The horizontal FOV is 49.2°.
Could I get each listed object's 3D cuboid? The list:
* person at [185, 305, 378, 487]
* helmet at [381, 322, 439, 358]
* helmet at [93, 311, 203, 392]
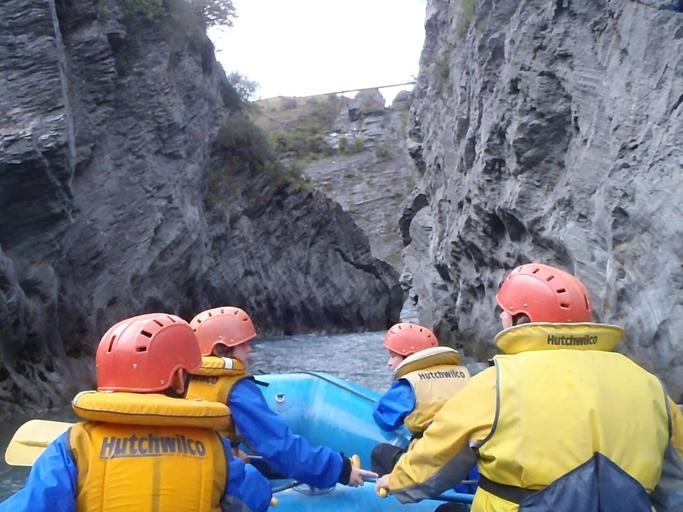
[{"bbox_3d":[-0.849,1.168,6.595,1.861,1.531,1.170,6,12,45],"label":"person"},{"bbox_3d":[0.763,0.818,7.507,0.486,0.294,0.368,-21,7,22],"label":"helmet"},{"bbox_3d":[-1.490,0.736,5.753,0.505,0.452,0.696,-7,-10,33],"label":"helmet"}]
